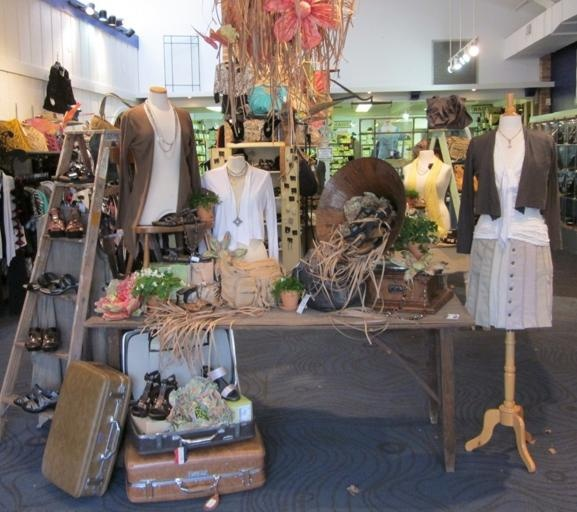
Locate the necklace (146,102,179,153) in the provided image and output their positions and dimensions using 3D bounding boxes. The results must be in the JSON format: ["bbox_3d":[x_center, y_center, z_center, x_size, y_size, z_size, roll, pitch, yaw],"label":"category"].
[{"bbox_3d":[-0.780,-0.809,3.484,0.177,0.350,0.069,-3,-11,-40],"label":"necklace"}]

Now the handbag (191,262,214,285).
[{"bbox_3d":[-0.449,0.089,2.906,0.131,0.121,0.066,-3,10,-11],"label":"handbag"}]

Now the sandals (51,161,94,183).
[{"bbox_3d":[-1.320,-0.507,3.405,0.332,0.161,0.117,4,6,30],"label":"sandals"}]

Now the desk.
[{"bbox_3d":[0.114,0.576,3.096,1.702,0.862,0.961,10,-10,21],"label":"desk"}]

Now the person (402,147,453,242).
[{"bbox_3d":[1.252,-0.553,4.960,0.455,0.760,0.936,1,11,13],"label":"person"}]

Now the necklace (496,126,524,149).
[{"bbox_3d":[1.170,-0.626,2.908,0.096,0.140,0.064,-2,-2,21],"label":"necklace"}]

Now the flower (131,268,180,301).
[{"bbox_3d":[-0.669,0.149,2.851,0.237,0.169,0.208,-3,11,-8],"label":"flower"}]

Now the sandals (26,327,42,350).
[{"bbox_3d":[-1.464,0.485,3.197,0.061,0.092,0.181,0,3,-8],"label":"sandals"}]

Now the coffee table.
[{"bbox_3d":[-0.763,-0.076,3.535,0.299,0.293,0.385,1,10,-7],"label":"coffee table"}]

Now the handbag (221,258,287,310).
[{"bbox_3d":[-0.215,0.149,2.924,0.249,0.276,0.122,0,-36,-2],"label":"handbag"}]

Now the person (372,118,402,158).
[{"bbox_3d":[1.670,-1.942,9.129,0.333,0.286,0.801,-4,-39,8],"label":"person"}]

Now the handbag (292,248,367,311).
[{"bbox_3d":[0.181,0.109,2.754,0.209,0.311,0.116,-9,-3,27],"label":"handbag"}]

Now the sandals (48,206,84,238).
[{"bbox_3d":[-1.322,-0.206,3.338,0.252,0.167,0.189,4,12,25],"label":"sandals"}]

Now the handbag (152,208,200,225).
[{"bbox_3d":[-0.677,-0.229,3.433,0.316,0.130,0.100,3,17,6],"label":"handbag"}]

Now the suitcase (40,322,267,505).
[{"bbox_3d":[-0.614,0.894,2.644,0.837,0.960,0.332,-5,-29,-1],"label":"suitcase"}]

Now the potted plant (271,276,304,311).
[{"bbox_3d":[0.005,0.187,2.882,0.146,0.164,0.153,1,4,28],"label":"potted plant"}]

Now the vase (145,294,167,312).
[{"bbox_3d":[-0.671,0.237,2.824,0.080,0.091,0.083,5,-2,7],"label":"vase"}]

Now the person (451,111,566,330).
[{"bbox_3d":[1.168,-0.201,2.961,0.540,1.168,0.401,4,11,28],"label":"person"}]

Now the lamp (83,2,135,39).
[{"bbox_3d":[-3.456,-4.568,10.709,0.448,0.447,1.855,0,11,7],"label":"lamp"}]

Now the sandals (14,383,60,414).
[{"bbox_3d":[-1.432,0.767,3.125,0.194,0.069,0.152,13,19,41],"label":"sandals"}]
